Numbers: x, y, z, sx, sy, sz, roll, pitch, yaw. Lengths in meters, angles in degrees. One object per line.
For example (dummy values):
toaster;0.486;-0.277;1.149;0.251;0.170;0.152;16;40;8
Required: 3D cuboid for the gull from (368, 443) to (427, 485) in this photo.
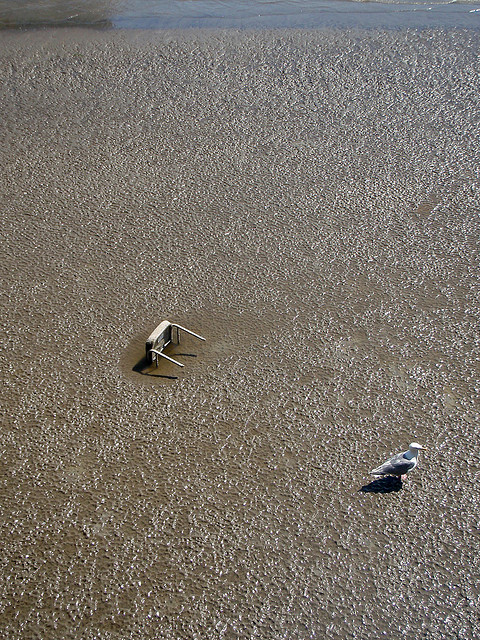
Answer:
gull;1.315;1.176;5.859;0.497;0.284;0.208;-4;27;-6
